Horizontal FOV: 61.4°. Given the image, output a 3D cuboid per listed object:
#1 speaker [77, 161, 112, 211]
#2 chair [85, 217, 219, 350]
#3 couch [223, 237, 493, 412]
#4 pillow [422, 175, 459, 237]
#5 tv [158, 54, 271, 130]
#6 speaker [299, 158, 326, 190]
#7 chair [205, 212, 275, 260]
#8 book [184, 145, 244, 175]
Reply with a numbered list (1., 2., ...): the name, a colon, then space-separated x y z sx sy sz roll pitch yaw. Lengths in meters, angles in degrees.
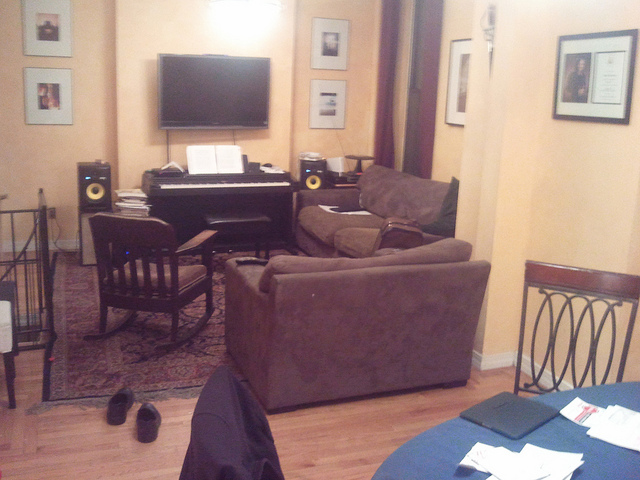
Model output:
1. speaker: -2.341 -0.540 5.589 0.428 0.621 0.442 -2 8 -25
2. chair: -1.290 0.227 4.245 0.969 1.049 1.045 -3 17 -15
3. couch: 0.161 0.060 3.711 1.718 1.188 1.067 -4 20 -16
4. pillow: 1.160 -0.306 4.995 0.142 0.480 0.409 10 -3 -1
5. tv: -1.252 -1.705 6.103 0.911 0.627 0.096 -1 9 -18
6. speaker: -0.098 -0.822 6.712 0.354 0.408 0.347 9 20 19
7. chair: -0.917 -0.161 6.058 0.736 0.558 0.560 -3 12 -19
8. book: -1.187 -0.916 6.110 0.631 0.312 0.213 -7 16 -16
